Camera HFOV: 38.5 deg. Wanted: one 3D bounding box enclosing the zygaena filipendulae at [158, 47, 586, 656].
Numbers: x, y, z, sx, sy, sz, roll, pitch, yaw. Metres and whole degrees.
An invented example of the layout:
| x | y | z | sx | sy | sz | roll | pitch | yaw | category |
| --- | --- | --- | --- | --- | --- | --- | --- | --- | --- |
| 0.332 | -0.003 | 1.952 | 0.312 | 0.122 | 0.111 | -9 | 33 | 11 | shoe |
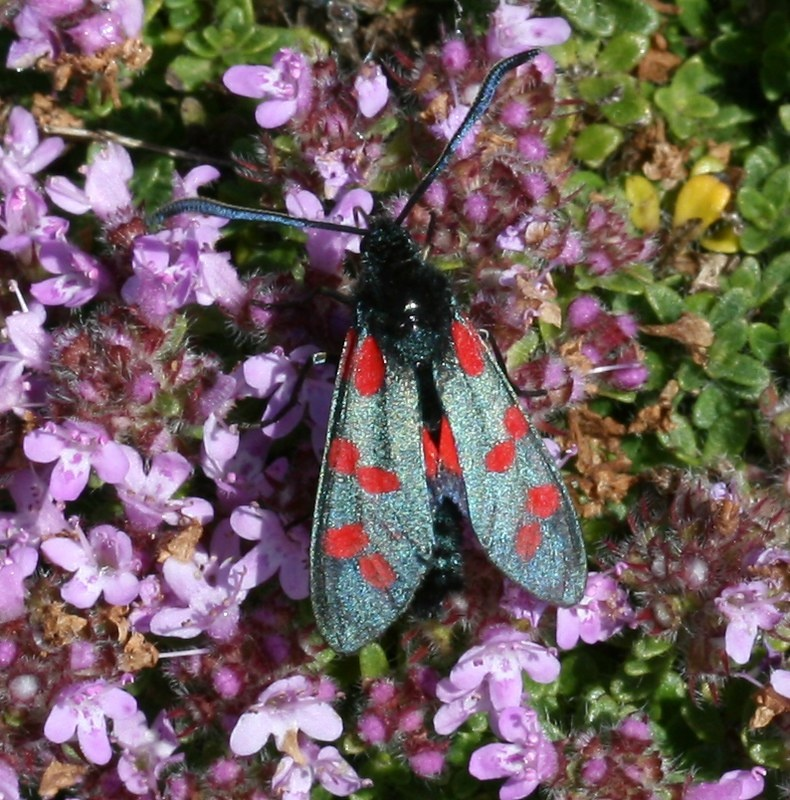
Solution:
| x | y | z | sx | sy | sz | roll | pitch | yaw | category |
| --- | --- | --- | --- | --- | --- | --- | --- | --- | --- |
| 0.002 | 0.040 | 2.496 | 0.967 | 0.317 | 0.945 | -15 | 80 | -2 | zygaena filipendulae |
